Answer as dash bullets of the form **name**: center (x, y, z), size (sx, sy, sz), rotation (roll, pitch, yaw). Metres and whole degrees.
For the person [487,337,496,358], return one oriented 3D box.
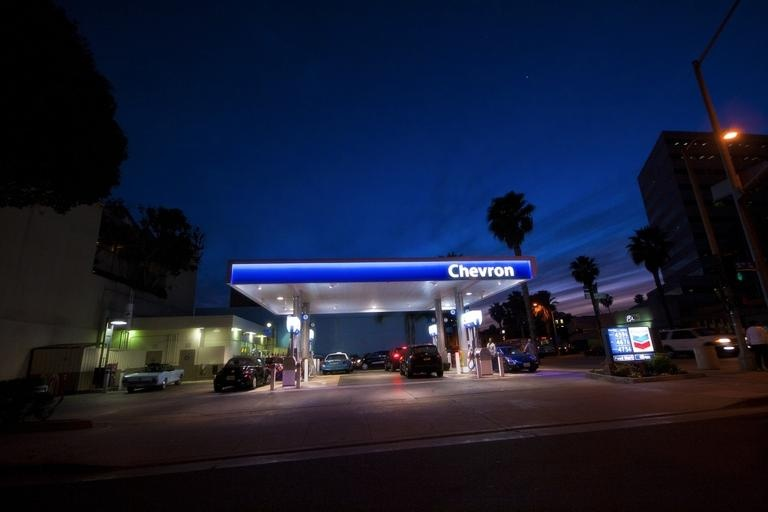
- **person**: center (6.100, 5.278, 25.383), size (0.466, 1.056, 1.595), rotation (-3, -1, 14)

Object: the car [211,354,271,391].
- **car**: center (-7.405, 6.302, 24.246), size (1.462, 1.025, 3.179), rotation (0, -8, 2)

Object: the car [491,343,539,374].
- **car**: center (7.782, 6.153, 27.248), size (1.775, 1.082, 2.689), rotation (3, -18, -13)

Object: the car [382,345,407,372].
- **car**: center (0.835, 7.493, 32.994), size (1.387, 1.050, 2.993), rotation (0, -8, 0)

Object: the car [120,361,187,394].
- **car**: center (-13.092, 6.983, 26.139), size (1.731, 1.090, 3.343), rotation (-2, -15, -3)
